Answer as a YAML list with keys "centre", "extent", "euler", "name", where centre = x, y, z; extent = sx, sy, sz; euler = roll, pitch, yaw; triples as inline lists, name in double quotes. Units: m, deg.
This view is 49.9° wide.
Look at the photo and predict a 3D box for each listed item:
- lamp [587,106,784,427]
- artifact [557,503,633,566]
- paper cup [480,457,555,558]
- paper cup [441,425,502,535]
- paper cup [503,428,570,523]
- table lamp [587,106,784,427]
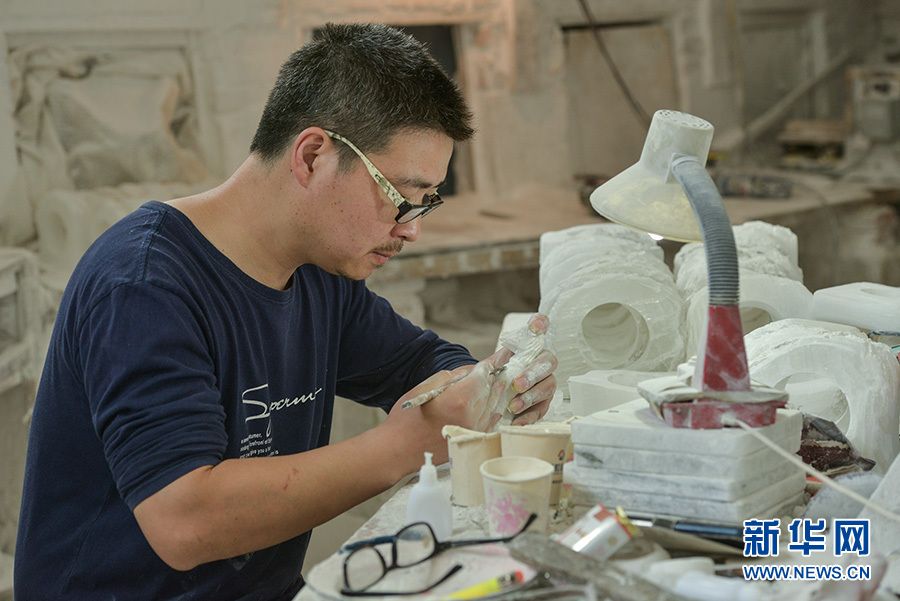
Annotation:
- centre: [0.702, -0.113, 2.793]
  extent: [0.428, 0.924, 0.439]
  euler: [-7, 4, -15]
  name: "lamp"
- centre: [0.390, 0.617, 2.550]
  extent: [0.208, 0.128, 0.139]
  euler: [-6, 3, 1]
  name: "artifact"
- centre: [0.182, 0.564, 2.668]
  extent: [0.195, 0.225, 0.207]
  euler: [-2, 5, 0]
  name: "paper cup"
- centre: [0.059, 0.491, 2.841]
  extent: [0.223, 0.318, 0.261]
  euler: [-5, 7, -5]
  name: "paper cup"
- centre: [0.281, 0.504, 2.802]
  extent: [0.220, 0.261, 0.229]
  euler: [-2, 9, 0]
  name: "paper cup"
- centre: [0.702, -0.113, 2.793]
  extent: [0.428, 0.924, 0.439]
  euler: [-7, 4, -15]
  name: "table lamp"
